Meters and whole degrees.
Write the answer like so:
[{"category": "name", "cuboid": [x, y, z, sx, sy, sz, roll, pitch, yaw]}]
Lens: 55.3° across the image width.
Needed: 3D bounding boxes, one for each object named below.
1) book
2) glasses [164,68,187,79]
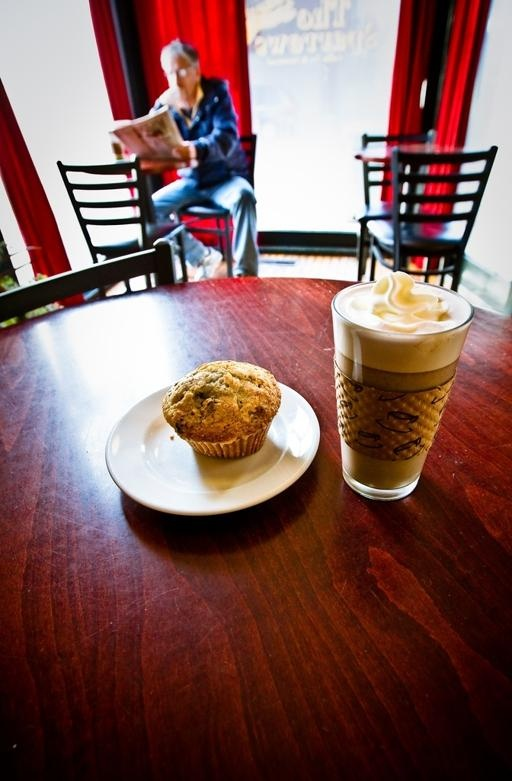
[{"category": "book", "cuboid": [-0.474, -1.090, 2.127, 0.273, 0.238, 0.329, -9, 35, -5]}, {"category": "glasses", "cuboid": [-0.434, -1.672, 2.597, 0.059, 0.042, 0.180, -26, 41, -26]}]
